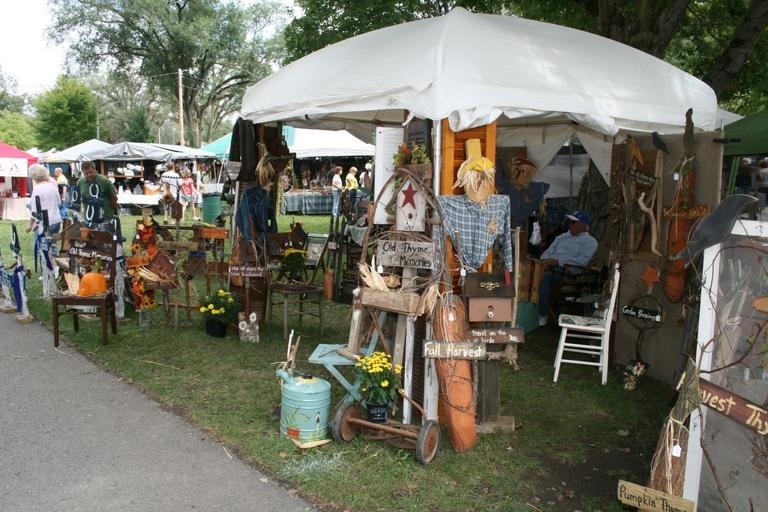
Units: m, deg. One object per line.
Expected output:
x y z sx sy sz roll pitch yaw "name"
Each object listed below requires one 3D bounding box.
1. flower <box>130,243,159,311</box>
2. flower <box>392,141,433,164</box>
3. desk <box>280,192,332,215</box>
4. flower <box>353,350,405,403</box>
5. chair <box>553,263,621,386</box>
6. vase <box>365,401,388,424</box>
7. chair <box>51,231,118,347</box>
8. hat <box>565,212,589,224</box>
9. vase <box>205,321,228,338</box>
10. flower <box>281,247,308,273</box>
-3.706 0.312 9.517 0.430 1.062 0.613 -2 5 -23 "flower"
0.351 -1.191 7.105 0.242 0.293 0.593 -2 6 -30 "flower"
-2.947 -2.066 23.629 2.199 0.908 0.628 -4 6 -39 "desk"
-0.081 1.254 6.649 0.592 0.607 0.496 1 -2 -5 "flower"
2.836 0.841 8.613 0.836 1.557 1.549 2 5 17 "chair"
-0.072 1.650 6.504 0.205 0.160 0.211 1 1 5 "vase"
-4.463 0.368 8.986 0.894 1.583 1.022 9 9 29 "chair"
3.070 -0.593 9.727 0.273 0.145 0.187 13 6 -5 "hat"
-2.508 1.069 9.235 0.272 0.210 0.271 3 2 38 "vase"
-1.482 0.063 10.018 0.372 0.385 0.346 -1 5 -12 "flower"
